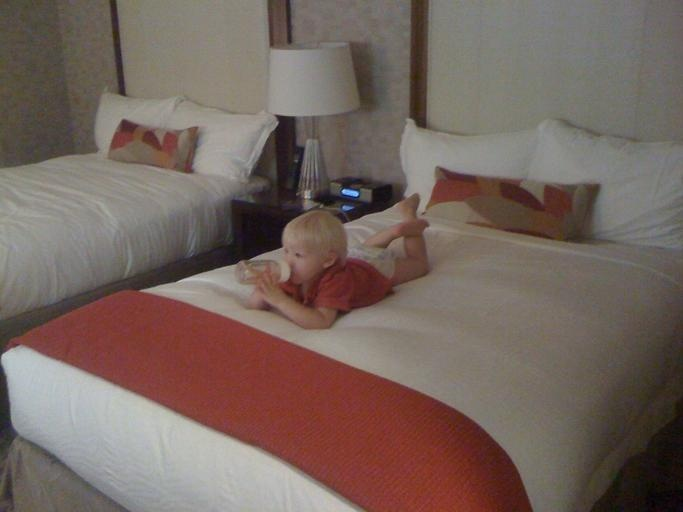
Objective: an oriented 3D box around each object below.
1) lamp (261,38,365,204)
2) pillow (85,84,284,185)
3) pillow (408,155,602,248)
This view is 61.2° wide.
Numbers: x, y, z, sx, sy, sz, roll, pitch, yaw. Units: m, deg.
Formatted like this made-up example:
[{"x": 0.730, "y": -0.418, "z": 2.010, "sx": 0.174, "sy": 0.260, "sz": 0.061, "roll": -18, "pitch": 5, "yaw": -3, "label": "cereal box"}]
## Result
[{"x": -0.124, "y": -0.721, "z": 2.964, "sx": 0.407, "sy": 0.874, "sz": 0.394, "roll": 18, "pitch": 26, "yaw": 37, "label": "lamp"}, {"x": -0.857, "y": -0.735, "z": 3.285, "sx": 1.222, "sy": 0.586, "sz": 0.687, "roll": 14, "pitch": 23, "yaw": 31, "label": "pillow"}, {"x": 0.647, "y": -0.191, "z": 2.188, "sx": 0.720, "sy": 0.270, "sz": 0.236, "roll": 10, "pitch": 15, "yaw": 29, "label": "pillow"}]
